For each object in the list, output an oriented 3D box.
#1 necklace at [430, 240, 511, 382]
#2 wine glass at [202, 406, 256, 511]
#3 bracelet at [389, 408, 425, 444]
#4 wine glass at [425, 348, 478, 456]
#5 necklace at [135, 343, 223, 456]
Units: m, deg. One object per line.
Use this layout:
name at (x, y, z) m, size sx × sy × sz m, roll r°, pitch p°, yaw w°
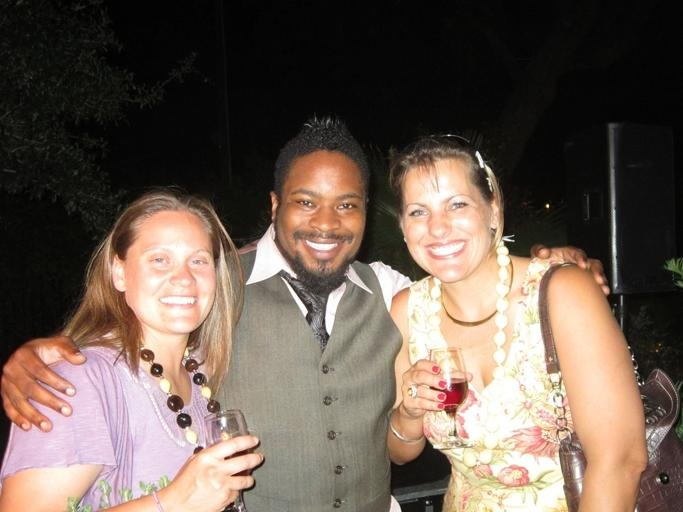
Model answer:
necklace at (0.810, 0.165, 3.673) m, size 0.553 × 0.145 × 0.905 m, roll -18°, pitch 18°, yaw 16°
wine glass at (-0.588, 1.042, 2.934) m, size 0.202 × 0.513 × 0.356 m, roll 0°, pitch -15°, yaw -12°
bracelet at (0.390, 1.071, 3.642) m, size 0.176 × 0.164 × 0.041 m, roll -25°, pitch 16°, yaw 34°
wine glass at (0.624, 0.813, 3.328) m, size 0.227 × 0.566 × 0.357 m, roll -5°, pitch -15°, yaw 8°
necklace at (-0.896, 0.781, 3.201) m, size 0.378 × 0.620 × 0.089 m, roll -28°, pitch -11°, yaw -44°
